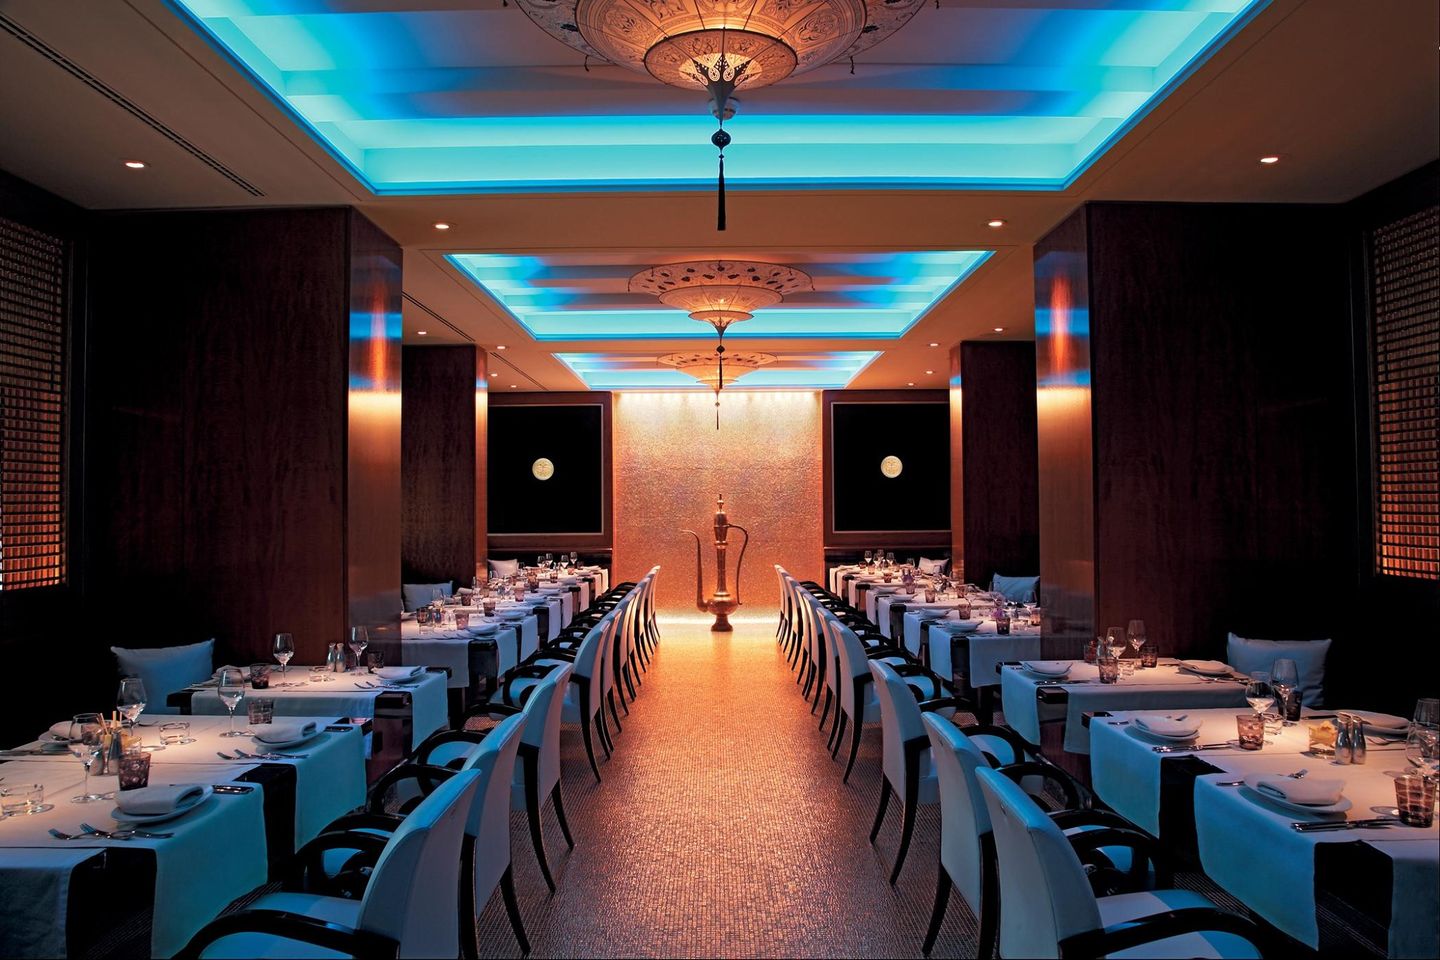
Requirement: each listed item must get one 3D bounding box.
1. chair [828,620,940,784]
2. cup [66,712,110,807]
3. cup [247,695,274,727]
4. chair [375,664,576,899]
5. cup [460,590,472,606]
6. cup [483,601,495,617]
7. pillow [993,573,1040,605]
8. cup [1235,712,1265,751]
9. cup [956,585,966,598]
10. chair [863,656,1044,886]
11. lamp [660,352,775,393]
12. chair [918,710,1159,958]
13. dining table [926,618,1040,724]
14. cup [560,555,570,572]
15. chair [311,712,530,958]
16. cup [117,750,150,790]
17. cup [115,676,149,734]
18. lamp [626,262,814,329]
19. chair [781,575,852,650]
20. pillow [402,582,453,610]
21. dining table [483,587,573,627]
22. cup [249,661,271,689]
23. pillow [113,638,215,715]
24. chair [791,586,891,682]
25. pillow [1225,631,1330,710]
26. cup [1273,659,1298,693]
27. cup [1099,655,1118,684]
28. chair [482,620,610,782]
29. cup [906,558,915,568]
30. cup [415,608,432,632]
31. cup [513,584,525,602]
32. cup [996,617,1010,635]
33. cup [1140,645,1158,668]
[{"bbox_3d":[1.354,1.584,7.481,0.954,1.381,0.774,0,-1,-5],"label":"chair"},{"bbox_3d":[-3.187,1.401,5.073,0.200,0.429,0.199,1,-8,0],"label":"cup"},{"bbox_3d":[-2.557,1.289,5.631,0.159,0.165,0.158,1,-6,0],"label":"cup"},{"bbox_3d":[-1.372,1.818,6.097,0.857,1.232,0.818,-7,2,-14],"label":"chair"},{"bbox_3d":[-2.439,1.124,9.640,0.101,0.135,0.099,0,3,0],"label":"cup"},{"bbox_3d":[-1.962,1.098,8.590,0.122,0.142,0.107,0,-11,-9],"label":"cup"},{"bbox_3d":[3.150,1.153,10.600,0.366,0.344,0.331,-4,-21,8],"label":"pillow"},{"bbox_3d":[2.774,1.316,5.242,0.164,0.189,0.160,2,-8,0],"label":"cup"},{"bbox_3d":[2.321,1.063,9.576,0.089,0.160,0.088,1,0,0],"label":"cup"},{"bbox_3d":[1.526,1.683,6.291,1.220,1.776,1.053,0,-3,-5],"label":"chair"},{"bbox_3d":[-0.070,-1.305,11.827,1.120,0.413,1.456,-2,6,-10],"label":"lamp"},{"bbox_3d":[1.539,1.818,5.494,1.261,1.773,1.023,0,-2,-2],"label":"chair"},{"bbox_3d":[2.059,1.362,7.788,0.739,0.487,0.961,0,-2,1],"label":"dining table"},{"bbox_3d":[-2.136,1.113,13.972,0.142,0.218,0.140,0,-5,0],"label":"cup"},{"bbox_3d":[-1.422,1.840,5.537,1.150,1.666,1.021,0,-6,3],"label":"chair"},{"bbox_3d":[-2.818,1.390,4.810,0.170,0.212,0.134,1,-8,-11],"label":"cup"},{"bbox_3d":[-3.116,1.162,5.285,0.113,0.257,0.210,-6,8,-36],"label":"cup"},{"bbox_3d":[0.009,-1.720,9.013,1.398,0.465,1.328,5,9,45],"label":"lamp"},{"bbox_3d":[0.973,1.360,10.252,0.321,0.419,0.994,-1,1,-5],"label":"chair"},{"bbox_3d":[-3.242,1.256,11.101,0.549,0.162,0.537,-4,24,-22],"label":"pillow"},{"bbox_3d":[-1.854,1.209,9.917,0.456,0.200,0.821,0,-1,5],"label":"dining table"},{"bbox_3d":[-2.896,1.218,6.271,0.149,0.159,0.142,0,-5,0],"label":"cup"},{"bbox_3d":[-3.783,1.431,6.898,0.255,0.581,0.674,-13,-7,28],"label":"pillow"},{"bbox_3d":[1.263,1.344,9.903,0.373,0.482,2.109,-10,12,-10],"label":"chair"},{"bbox_3d":[3.516,1.203,6.287,0.549,0.412,0.190,2,-4,19],"label":"pillow"},{"bbox_3d":[3.112,1.063,5.484,0.134,0.165,0.093,-1,7,-1],"label":"cup"},{"bbox_3d":[2.424,1.176,6.232,0.138,0.151,0.140,0,-10,0],"label":"cup"},{"bbox_3d":[-1.103,1.681,7.916,1.026,1.507,1.040,1,-3,6],"label":"chair"},{"bbox_3d":[2.710,1.160,14.190,0.129,0.228,0.126,-1,-5,0],"label":"cup"},{"bbox_3d":[-2.425,1.147,8.203,0.148,0.210,0.146,0,-3,0],"label":"cup"},{"bbox_3d":[-1.996,1.113,9.953,0.135,0.165,0.133,-1,-6,0],"label":"cup"},{"bbox_3d":[2.172,1.114,7.738,0.114,0.123,0.118,0,-8,0],"label":"cup"},{"bbox_3d":[2.801,1.147,6.496,0.115,0.130,0.123,0,-6,0],"label":"cup"}]
